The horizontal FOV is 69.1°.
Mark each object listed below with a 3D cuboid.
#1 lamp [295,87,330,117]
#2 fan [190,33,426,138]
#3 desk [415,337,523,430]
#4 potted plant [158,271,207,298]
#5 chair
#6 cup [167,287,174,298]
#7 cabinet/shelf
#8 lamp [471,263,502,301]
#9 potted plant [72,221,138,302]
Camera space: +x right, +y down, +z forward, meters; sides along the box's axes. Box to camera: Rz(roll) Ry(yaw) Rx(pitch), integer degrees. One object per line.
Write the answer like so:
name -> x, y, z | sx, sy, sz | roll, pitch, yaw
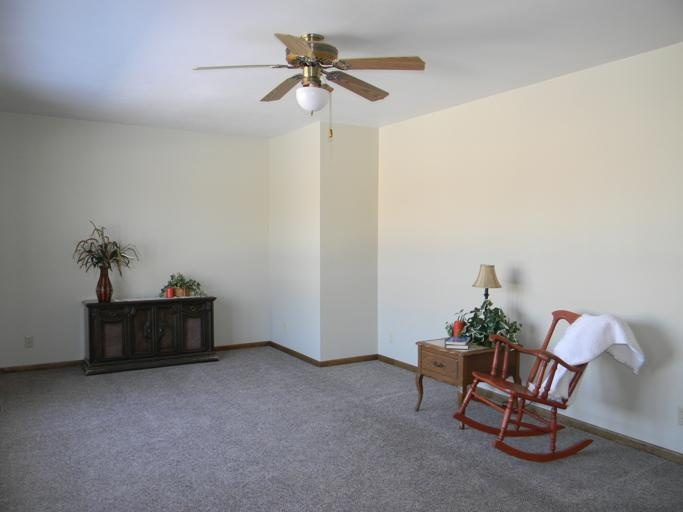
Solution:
lamp -> -0.208, -1.123, 3.629 | 0.292, 0.210, 0.276 | 0, 3, -18
fan -> -0.056, -1.371, 3.692 | 0.973, 0.617, 1.081 | -1, 7, -14
desk -> 1.217, 1.148, 4.834 | 0.815, 0.698, 0.770 | -1, 2, -30
potted plant -> -2.135, 0.322, 6.631 | 0.466, 0.206, 0.341 | 1, 2, -35
chair -> 1.583, 1.034, 4.281 | 1.084, 1.112, 1.167 | 2, 8, 13
cup -> -2.221, 0.459, 6.429 | 0.121, 0.126, 0.121 | 0, -3, 0
cabinet/shelf -> -2.465, 0.973, 6.343 | 1.575, 0.817, 0.524 | 1, -4, -41
lamp -> 1.457, 0.255, 4.962 | 0.250, 0.369, 0.399 | 3, 8, 18
potted plant -> -2.915, 0.026, 6.286 | 0.564, 0.932, 0.649 | 6, 10, 35
